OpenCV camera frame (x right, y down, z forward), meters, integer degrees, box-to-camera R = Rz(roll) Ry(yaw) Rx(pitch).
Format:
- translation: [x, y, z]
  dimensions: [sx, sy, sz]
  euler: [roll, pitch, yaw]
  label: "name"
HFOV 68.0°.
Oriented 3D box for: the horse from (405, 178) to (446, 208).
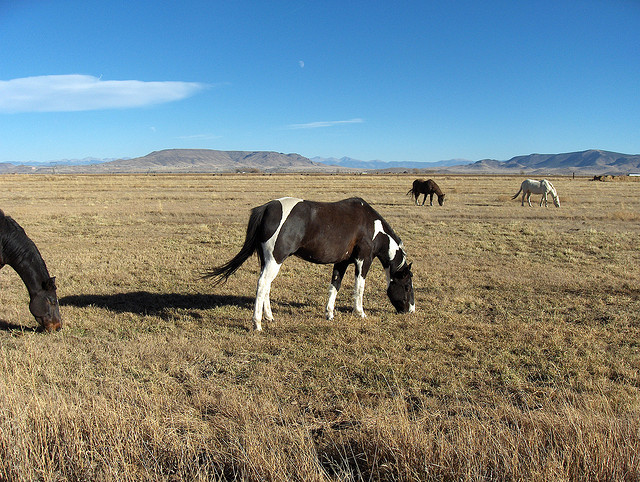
- translation: [7.774, -3.632, 34.892]
  dimensions: [2.969, 2.163, 0.840]
  euler: [15, 16, 36]
  label: "horse"
